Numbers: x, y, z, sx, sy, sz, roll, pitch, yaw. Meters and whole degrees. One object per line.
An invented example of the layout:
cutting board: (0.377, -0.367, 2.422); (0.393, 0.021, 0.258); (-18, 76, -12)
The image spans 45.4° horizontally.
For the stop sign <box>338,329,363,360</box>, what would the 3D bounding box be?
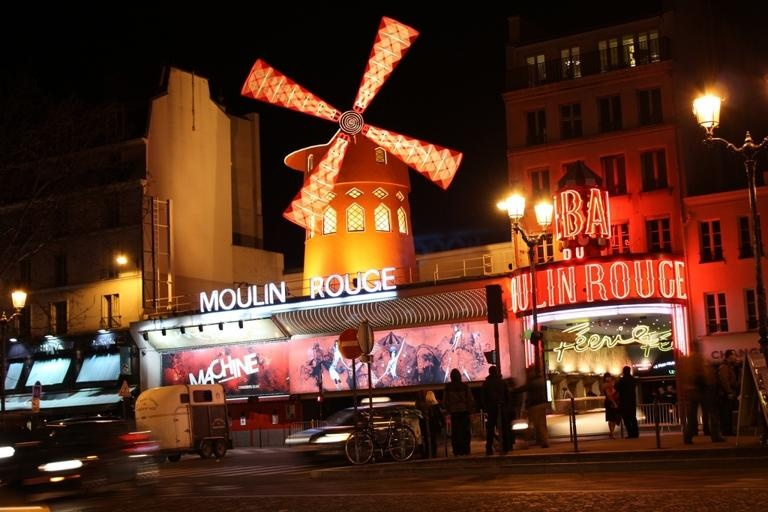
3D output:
stop sign: (-0.820, 2.218, 23.392); (0.682, 0.817, 0.421); (-13, -16, 30)

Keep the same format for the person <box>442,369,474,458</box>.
person: (1.918, 3.989, 23.589); (0.719, 2.213, 0.755); (-6, -14, 4)

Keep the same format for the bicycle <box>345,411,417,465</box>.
bicycle: (-0.109, 4.700, 23.727); (2.166, 1.230, 1.003); (3, -10, -31)

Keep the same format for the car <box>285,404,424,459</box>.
car: (-0.111, 4.888, 25.705); (3.593, 1.061, 1.913); (4, -10, -22)
